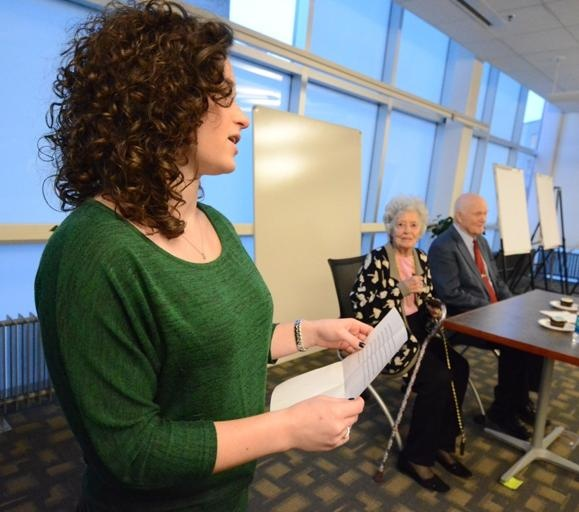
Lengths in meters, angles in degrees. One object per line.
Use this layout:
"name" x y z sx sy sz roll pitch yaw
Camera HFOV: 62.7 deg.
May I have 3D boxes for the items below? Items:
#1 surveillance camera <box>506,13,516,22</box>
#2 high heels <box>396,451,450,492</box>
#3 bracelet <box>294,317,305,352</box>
"surveillance camera" 2.012 -2.179 4.315 0.043 0.040 0.072 -1 9 14
"high heels" 0.661 1.099 2.413 0.273 0.108 0.095 10 14 42
"bracelet" 0.024 0.203 1.193 0.024 0.065 0.051 2 -4 10
